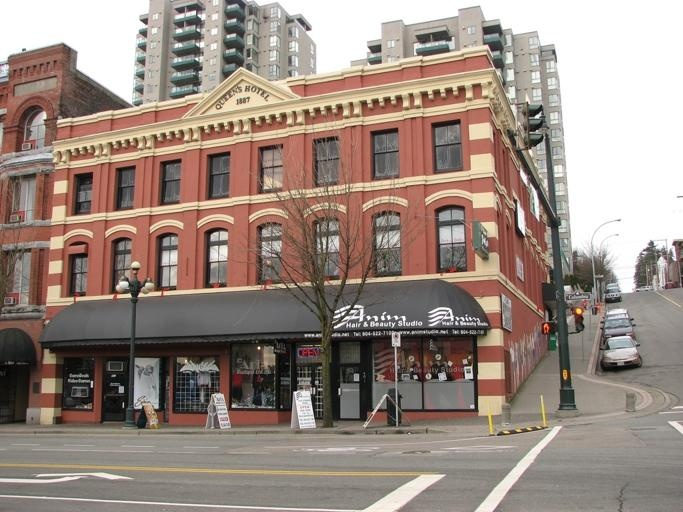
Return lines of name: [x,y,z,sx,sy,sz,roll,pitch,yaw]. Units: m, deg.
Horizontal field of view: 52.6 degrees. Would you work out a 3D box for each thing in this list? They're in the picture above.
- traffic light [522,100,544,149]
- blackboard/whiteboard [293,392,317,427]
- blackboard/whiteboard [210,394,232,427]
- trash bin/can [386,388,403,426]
traffic light: [7.753,-5.190,27.505,0.603,1.859,0.590,-2,-3,20]
blackboard/whiteboard: [-1.491,5.946,26.720,0.840,1.404,0.721,0,-7,-11]
blackboard/whiteboard: [-5.074,6.407,28.440,0.791,1.456,0.804,-13,-14,35]
trash bin/can: [1.983,5.692,25.993,0.516,1.349,0.689,-3,-7,11]
